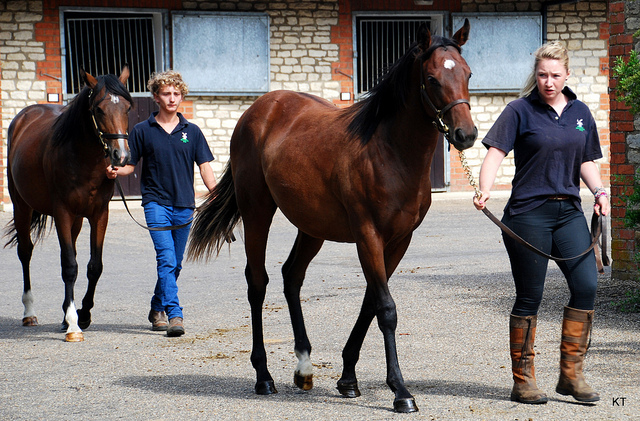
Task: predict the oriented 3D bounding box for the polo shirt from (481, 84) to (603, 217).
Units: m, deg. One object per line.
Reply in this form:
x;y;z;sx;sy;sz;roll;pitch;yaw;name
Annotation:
2.475;-0.667;12.493;1.268;1.441;0.437;3;9;9;polo shirt

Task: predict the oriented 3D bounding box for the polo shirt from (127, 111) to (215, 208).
-1.984;-0.695;14.942;1.372;1.187;0.563;0;2;-8;polo shirt

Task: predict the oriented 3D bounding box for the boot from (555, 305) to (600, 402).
2.933;1.588;12.498;0.414;0.973;0.673;2;4;-26;boot

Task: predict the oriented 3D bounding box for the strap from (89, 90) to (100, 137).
-2.881;-1.229;14.290;0.100;0.564;0.075;-5;14;3;strap

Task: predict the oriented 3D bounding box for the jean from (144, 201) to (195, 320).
-1.966;0.633;14.689;0.643;1.477;0.595;0;10;-13;jean

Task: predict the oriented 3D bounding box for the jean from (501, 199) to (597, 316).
2.534;0.518;12.465;1.049;1.303;0.241;2;9;5;jean

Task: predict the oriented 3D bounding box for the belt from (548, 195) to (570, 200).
2.626;-0.149;12.370;0.202;0.050;0.019;1;9;-3;belt

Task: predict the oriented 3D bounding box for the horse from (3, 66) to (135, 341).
-3.572;-0.308;15.690;1.754;3.432;3.588;0;9;-12;horse

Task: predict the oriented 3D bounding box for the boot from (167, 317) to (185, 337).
-1.864;1.495;14.488;0.215;0.224;0.236;0;9;-8;boot

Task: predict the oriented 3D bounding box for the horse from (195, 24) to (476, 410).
0.155;-0.028;12.851;1.433;4.173;3.046;-5;11;-35;horse
